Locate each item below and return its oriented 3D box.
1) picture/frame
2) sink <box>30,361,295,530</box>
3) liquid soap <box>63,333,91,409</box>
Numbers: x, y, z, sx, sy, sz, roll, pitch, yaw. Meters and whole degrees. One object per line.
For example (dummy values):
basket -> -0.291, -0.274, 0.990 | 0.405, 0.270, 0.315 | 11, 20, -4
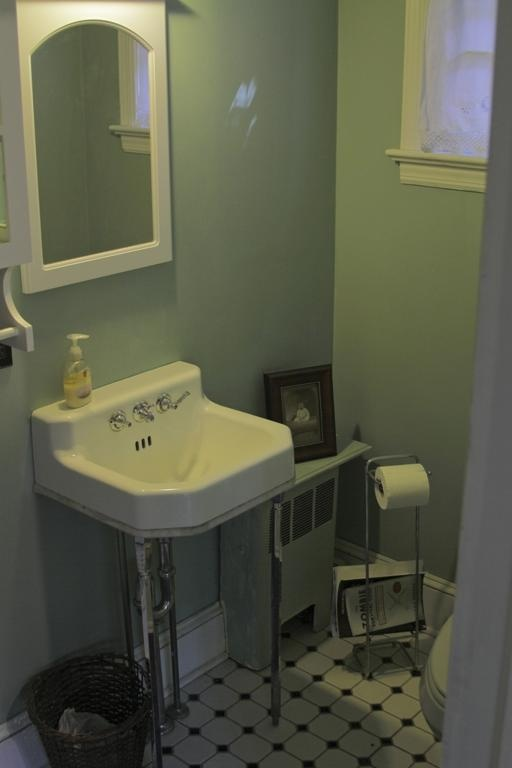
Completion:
picture/frame -> 0.145, 0.109, 2.108 | 0.264, 0.420, 0.041 | -7, 7, -31
sink -> -0.225, 0.184, 1.683 | 0.616, 0.271, 0.550 | -13, 20, -43
liquid soap -> -0.469, -0.035, 1.589 | 0.073, 0.191, 0.067 | -8, 15, -20
